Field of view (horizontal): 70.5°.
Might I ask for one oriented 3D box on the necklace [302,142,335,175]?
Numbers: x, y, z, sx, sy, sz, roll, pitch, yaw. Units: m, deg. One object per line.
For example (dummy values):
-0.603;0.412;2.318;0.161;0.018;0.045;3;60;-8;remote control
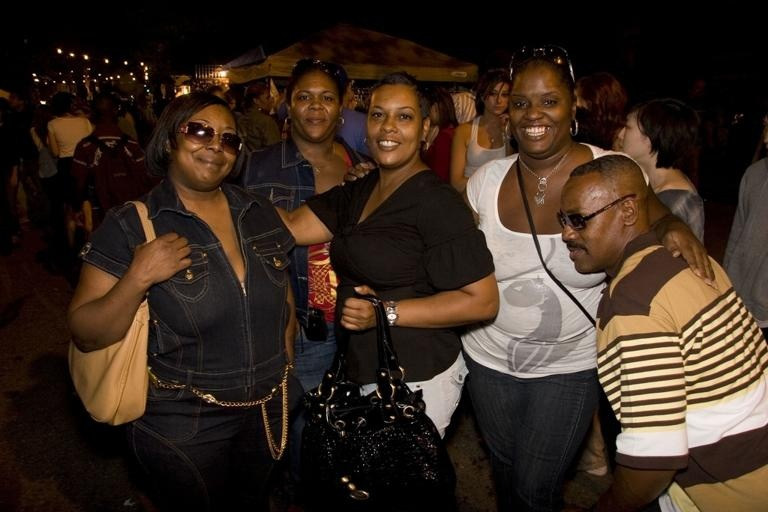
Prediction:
-0.570;-0.811;4.447;0.217;0.168;0.256;-1;4;-3;necklace
